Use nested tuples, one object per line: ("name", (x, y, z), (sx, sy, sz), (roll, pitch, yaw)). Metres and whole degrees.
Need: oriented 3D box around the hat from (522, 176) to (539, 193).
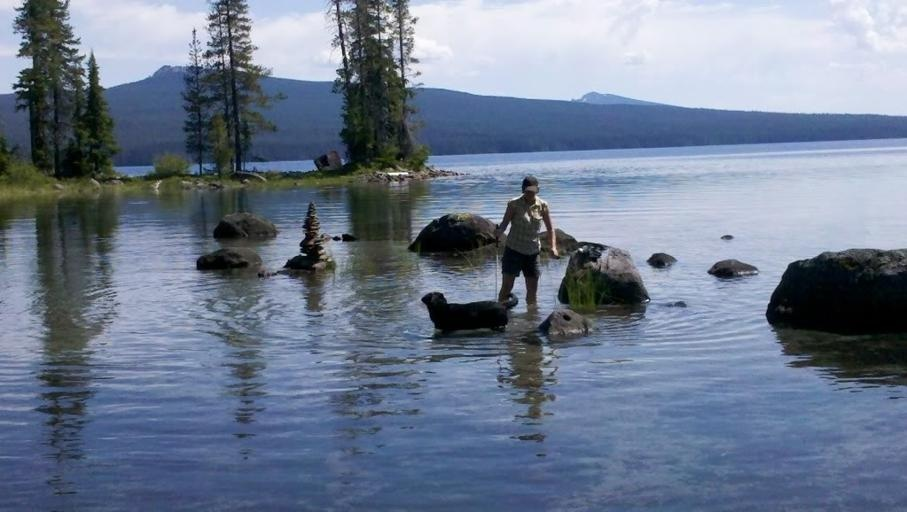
("hat", (2.380, -2.203, 33.859), (0.489, 0.293, 0.632), (3, 3, 5))
